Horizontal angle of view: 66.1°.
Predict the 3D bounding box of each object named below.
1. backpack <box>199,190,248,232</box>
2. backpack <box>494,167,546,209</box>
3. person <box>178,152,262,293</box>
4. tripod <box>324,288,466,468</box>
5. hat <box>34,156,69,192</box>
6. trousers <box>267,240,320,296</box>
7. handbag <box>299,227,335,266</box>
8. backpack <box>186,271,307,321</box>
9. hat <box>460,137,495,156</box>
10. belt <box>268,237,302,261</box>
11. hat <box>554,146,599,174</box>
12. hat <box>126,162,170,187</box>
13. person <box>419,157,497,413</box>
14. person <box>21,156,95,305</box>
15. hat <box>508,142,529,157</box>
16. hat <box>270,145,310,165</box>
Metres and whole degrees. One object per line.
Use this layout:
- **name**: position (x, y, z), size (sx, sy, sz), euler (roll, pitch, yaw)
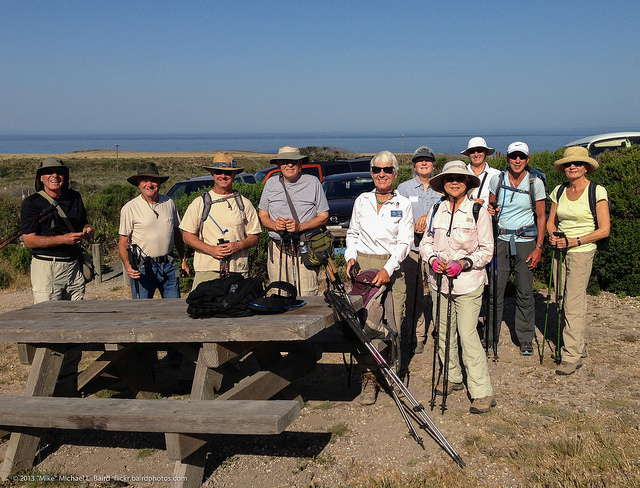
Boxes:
- **backpack**: position (-1.191, -0.406, 6.029), size (0.381, 0.552, 0.440), euler (-3, -9, -18)
- **backpack**: position (2.688, -0.767, 6.686), size (0.554, 0.688, 0.481), euler (-4, 7, 13)
- **person**: position (-1.201, -0.293, 5.941), size (0.958, 1.612, 0.669), euler (-5, 9, -11)
- **tripod**: position (0.775, 1.452, 5.211), size (0.301, 1.896, 0.219), euler (-30, -27, -16)
- **hat**: position (-3.167, -0.832, 5.914), size (0.429, 0.524, 0.464), euler (-3, 8, -22)
- **trousers**: position (-0.295, 0.283, 5.933), size (0.523, 0.745, 0.384), euler (1, 43, 7)
- **handbag**: position (-0.055, 0.034, 5.909), size (0.324, 0.463, 0.244), euler (-13, -10, -14)
- **backpack**: position (-0.704, 0.501, 4.554), size (0.714, 0.294, 0.518), euler (1, -2, 5)
- **hat**: position (2.179, -1.345, 6.766), size (0.331, 0.167, 0.351), euler (-1, 0, 17)
- **belt**: position (-0.487, 0.015, 6.275), size (0.263, 0.373, 0.109), euler (4, -10, 2)
- **hat**: position (3.082, -1.008, 5.953), size (0.453, 0.334, 0.386), euler (1, 10, 26)
- **hat**: position (-2.223, -0.916, 6.478), size (0.393, 0.200, 0.468), euler (-2, -5, -9)
- **person**: position (1.540, 0.427, 5.524), size (0.774, 2.705, 1.377), euler (-1, 9, 14)
- **person**: position (-3.097, -0.161, 5.823), size (0.718, 1.697, 0.504), euler (-9, 11, -33)
- **hat**: position (2.517, -1.217, 6.268), size (0.227, 0.168, 0.340), euler (0, 10, 23)
- **hat**: position (-0.371, -1.158, 6.243), size (0.366, 0.189, 0.410), euler (-5, 9, -6)
